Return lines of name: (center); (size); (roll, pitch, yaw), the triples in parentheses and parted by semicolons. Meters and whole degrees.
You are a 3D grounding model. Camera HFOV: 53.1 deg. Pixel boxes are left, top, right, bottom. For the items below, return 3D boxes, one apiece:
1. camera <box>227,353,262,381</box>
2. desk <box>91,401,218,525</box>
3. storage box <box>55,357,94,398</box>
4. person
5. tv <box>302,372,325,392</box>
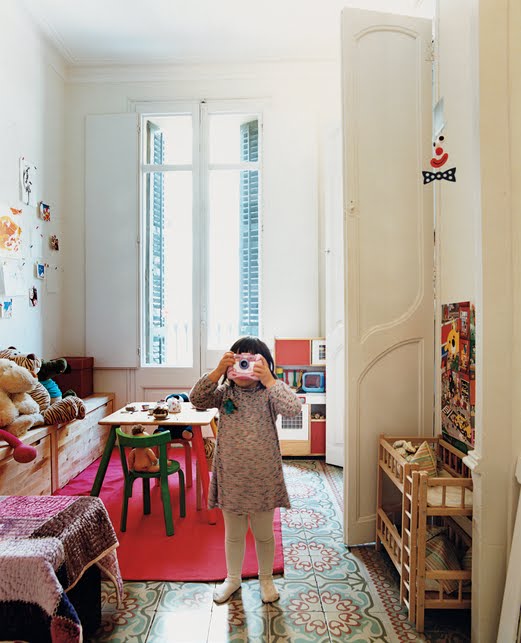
camera: (-0.064, 0.172, 1.972); (0.122, 0.100, 0.044); (0, 3, -1)
desk: (-0.561, 0.670, 2.807); (0.576, 0.473, 0.604); (0, 1, 10)
storage box: (-1.449, 0.429, 4.047); (0.214, 0.289, 0.293); (0, -1, -4)
person: (-0.059, 0.571, 2.046); (0.322, 1.009, 0.329); (-3, 4, -45)
tv: (0.385, 0.439, 3.773); (0.174, 0.180, 0.127); (0, -3, 9)
